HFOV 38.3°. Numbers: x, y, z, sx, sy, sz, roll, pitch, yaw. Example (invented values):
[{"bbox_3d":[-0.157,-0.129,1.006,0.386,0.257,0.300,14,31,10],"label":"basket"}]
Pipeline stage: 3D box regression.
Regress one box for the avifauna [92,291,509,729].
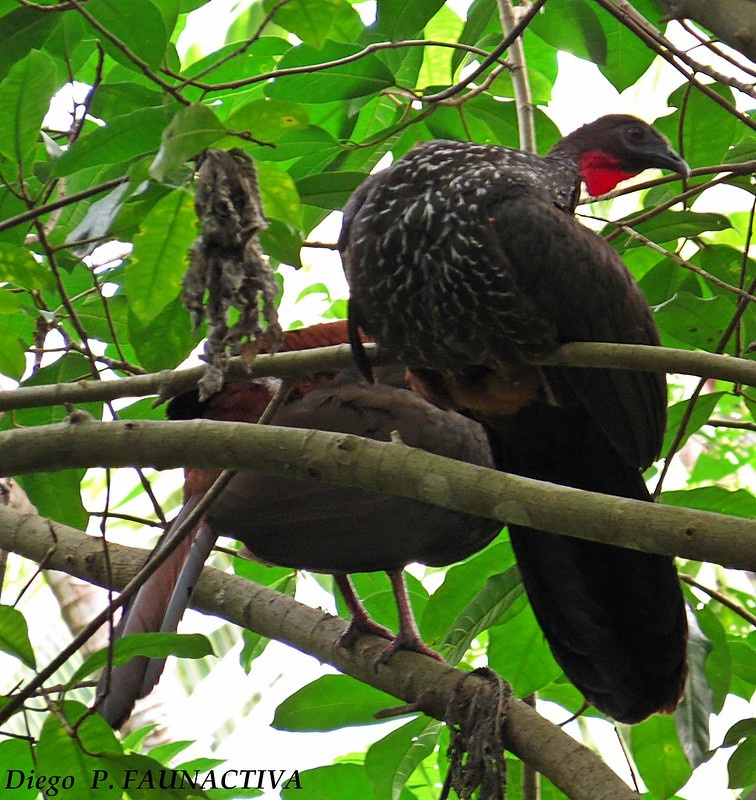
[{"bbox_3d":[-0.074,0.278,3.117,1.701,1.105,0.453,6,-15,-8],"label":"avifauna"}]
